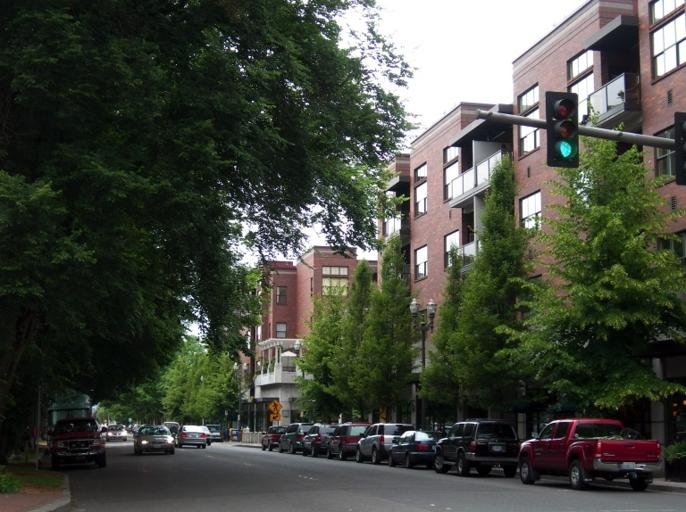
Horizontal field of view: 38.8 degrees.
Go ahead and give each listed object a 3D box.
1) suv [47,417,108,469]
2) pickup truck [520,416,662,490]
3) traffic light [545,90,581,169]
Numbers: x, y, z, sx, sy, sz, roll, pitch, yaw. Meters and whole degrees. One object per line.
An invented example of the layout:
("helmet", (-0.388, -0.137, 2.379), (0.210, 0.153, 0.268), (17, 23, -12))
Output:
("suv", (-11.267, 7.844, 41.286), (2.252, 2.247, 2.514), (3, -10, -18))
("pickup truck", (7.710, 6.145, 30.473), (1.968, 2.241, 4.325), (11, -18, -30))
("traffic light", (4.780, -2.764, 21.104), (0.523, 1.789, 0.613), (-1, -6, -15))
